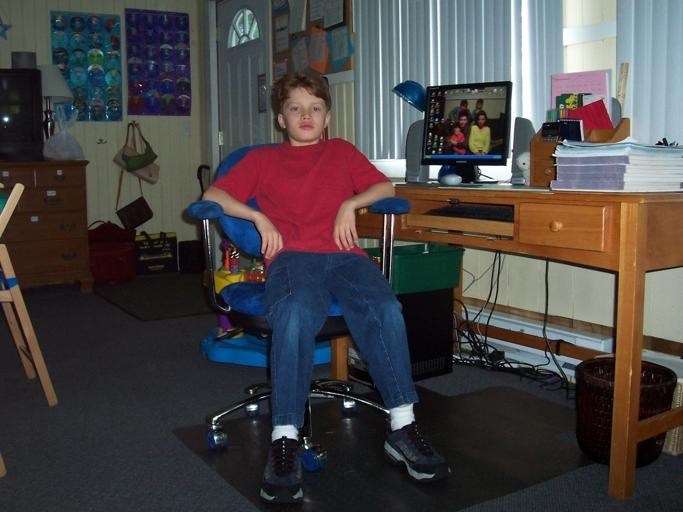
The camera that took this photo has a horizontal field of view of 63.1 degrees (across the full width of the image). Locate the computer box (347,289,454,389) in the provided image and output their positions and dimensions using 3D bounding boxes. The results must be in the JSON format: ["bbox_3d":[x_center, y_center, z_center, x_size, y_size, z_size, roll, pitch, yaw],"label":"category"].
[{"bbox_3d":[0.261,0.263,2.895,0.350,0.605,0.627,-2,3,-23],"label":"computer box"}]

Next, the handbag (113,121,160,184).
[{"bbox_3d":[-2.016,-1.004,5.396,0.439,0.591,0.222,19,-34,-41],"label":"handbag"}]

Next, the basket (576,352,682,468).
[{"bbox_3d":[0.982,0.510,2.045,0.319,0.336,0.360,-5,8,-20],"label":"basket"}]

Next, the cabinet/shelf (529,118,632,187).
[{"bbox_3d":[0.879,-0.377,2.031,0.165,0.292,0.302,-4,10,-30],"label":"cabinet/shelf"}]

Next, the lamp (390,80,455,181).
[{"bbox_3d":[0.430,-0.677,3.059,0.261,0.623,0.239,2,31,1],"label":"lamp"}]

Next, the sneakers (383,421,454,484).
[{"bbox_3d":[0.245,0.640,1.850,0.124,0.144,0.285,4,2,-33],"label":"sneakers"}]

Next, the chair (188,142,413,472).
[{"bbox_3d":[-0.190,0.126,2.028,0.738,1.108,0.674,-1,5,-12],"label":"chair"}]

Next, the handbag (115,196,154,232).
[{"bbox_3d":[-1.956,-0.387,5.286,0.121,0.292,0.390,-3,33,48],"label":"handbag"}]

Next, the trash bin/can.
[{"bbox_3d":[0.984,0.528,2.039,0.319,0.332,0.359,0,6,5],"label":"trash bin/can"}]

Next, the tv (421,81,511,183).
[{"bbox_3d":[0.622,-0.598,2.748,0.444,0.475,0.160,8,16,34],"label":"tv"}]

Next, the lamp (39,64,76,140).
[{"bbox_3d":[-2.477,-1.355,4.838,0.253,0.671,0.540,-5,11,-26],"label":"lamp"}]

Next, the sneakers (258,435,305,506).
[{"bbox_3d":[-0.187,0.657,1.710,0.121,0.192,0.074,0,9,1],"label":"sneakers"}]

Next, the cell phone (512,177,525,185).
[{"bbox_3d":[0.834,-0.353,2.617,0.061,0.024,0.049,-1,15,0],"label":"cell phone"}]
